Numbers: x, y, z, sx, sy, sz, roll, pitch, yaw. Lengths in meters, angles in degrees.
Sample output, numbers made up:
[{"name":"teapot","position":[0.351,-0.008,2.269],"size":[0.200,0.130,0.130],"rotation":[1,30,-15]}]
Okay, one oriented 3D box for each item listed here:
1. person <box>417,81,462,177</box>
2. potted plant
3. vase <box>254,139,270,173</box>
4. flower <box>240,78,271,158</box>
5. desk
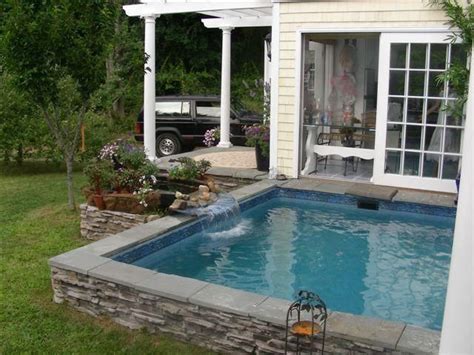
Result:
[{"name":"person","position":[4.217,-0.792,7.486],"size":[0.687,1.612,0.207],"rotation":[5,17,23]},{"name":"potted plant","position":[-1.971,-0.035,6.745],"size":[1.451,0.978,1.392],"rotation":[5,12,17]},{"name":"vase","position":[0.655,-0.534,9.267],"size":[0.511,0.774,0.185],"rotation":[10,19,36]},{"name":"flower","position":[0.549,-1.517,9.573],"size":[0.659,1.785,1.489],"rotation":[-1,15,3]},{"name":"desk","position":[2.525,-0.464,9.012],"size":[2.103,1.231,1.242],"rotation":[3,11,21]}]
